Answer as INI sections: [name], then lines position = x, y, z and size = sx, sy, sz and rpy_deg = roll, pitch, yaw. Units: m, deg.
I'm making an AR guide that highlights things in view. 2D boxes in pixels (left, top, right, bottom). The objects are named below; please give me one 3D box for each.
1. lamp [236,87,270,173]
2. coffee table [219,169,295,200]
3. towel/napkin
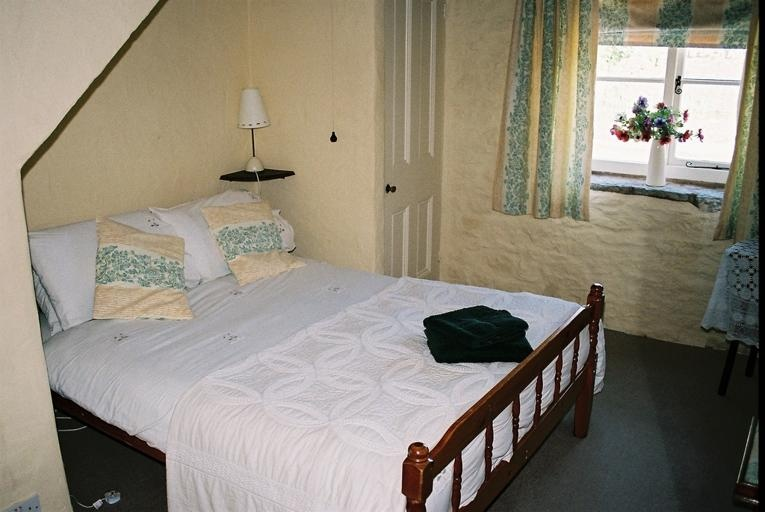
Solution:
[lamp]
position = -0.967, -0.940, 4.080
size = 0.213, 0.613, 0.402
rpy_deg = -7, 17, -12
[coffee table]
position = -0.985, -0.613, 4.143
size = 0.264, 0.247, 0.260
rpy_deg = -24, 35, -37
[towel/napkin]
position = 0.465, 0.407, 2.730
size = 0.322, 0.083, 0.316
rpy_deg = -1, 21, -6
